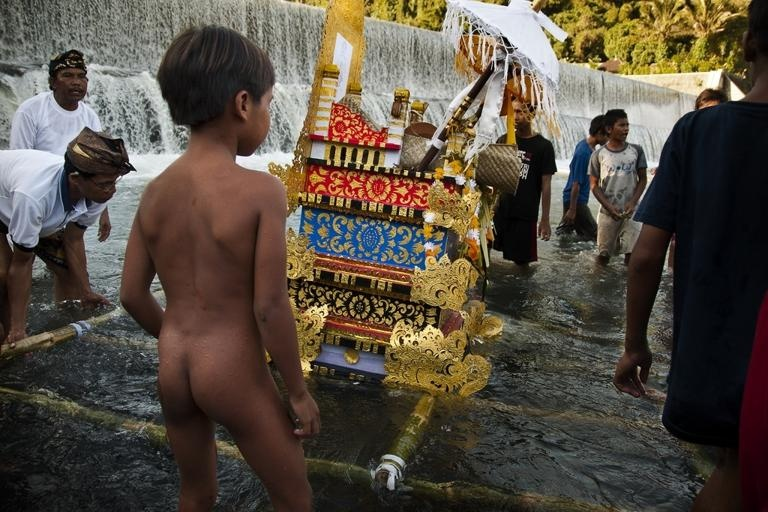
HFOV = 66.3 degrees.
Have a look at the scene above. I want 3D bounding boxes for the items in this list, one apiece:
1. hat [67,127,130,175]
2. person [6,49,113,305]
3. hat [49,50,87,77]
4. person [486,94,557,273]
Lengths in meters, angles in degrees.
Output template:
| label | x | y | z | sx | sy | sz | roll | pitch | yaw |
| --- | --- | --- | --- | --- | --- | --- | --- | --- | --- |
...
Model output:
| label | x | y | z | sx | sy | sz | roll | pitch | yaw |
| --- | --- | --- | --- | --- | --- | --- | --- | --- | --- |
| hat | -2.109 | -0.729 | 4.458 | 0.314 | 0.230 | 0.446 | -24 | -34 | 19 |
| person | -3.207 | -0.546 | 5.862 | 0.922 | 2.881 | 0.950 | 25 | 20 | 36 |
| hat | -2.978 | -1.792 | 5.529 | 0.277 | 0.269 | 0.269 | 0 | 13 | -28 |
| person | 1.725 | -0.815 | 7.207 | 0.682 | 1.933 | 0.621 | 8 | 11 | 14 |
